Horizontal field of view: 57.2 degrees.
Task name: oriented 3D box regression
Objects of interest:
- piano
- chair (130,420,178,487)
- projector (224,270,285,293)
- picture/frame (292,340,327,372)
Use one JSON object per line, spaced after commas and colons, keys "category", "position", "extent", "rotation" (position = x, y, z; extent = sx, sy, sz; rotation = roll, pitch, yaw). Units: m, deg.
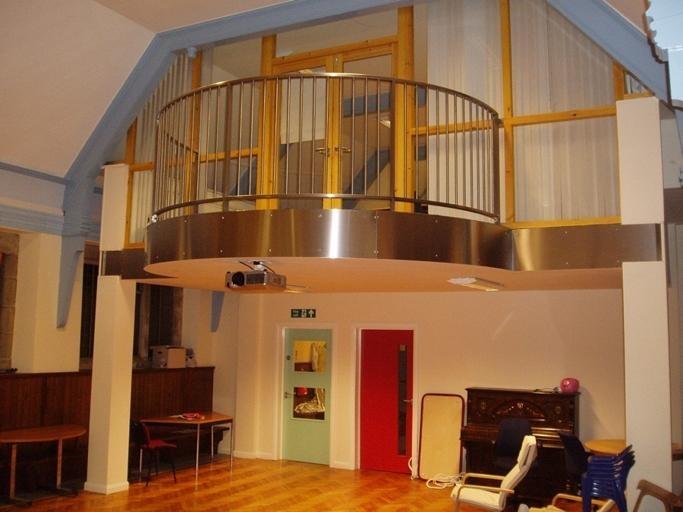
{"category": "piano", "position": [2.439, 2.545, 8.291], "extent": [1.366, 1.367, 0.499], "rotation": [2, 1, 21]}
{"category": "chair", "position": [-2.904, 2.966, 9.608], "extent": [0.503, 0.886, 0.571], "rotation": [-4, -6, 42]}
{"category": "projector", "position": [-0.938, 0.247, 6.883], "extent": [0.605, 0.230, 0.489], "rotation": [-8, -8, 33]}
{"category": "picture/frame", "position": [-0.520, 1.705, 10.642], "extent": [0.425, 0.474, 0.220], "rotation": [15, -1, 25]}
